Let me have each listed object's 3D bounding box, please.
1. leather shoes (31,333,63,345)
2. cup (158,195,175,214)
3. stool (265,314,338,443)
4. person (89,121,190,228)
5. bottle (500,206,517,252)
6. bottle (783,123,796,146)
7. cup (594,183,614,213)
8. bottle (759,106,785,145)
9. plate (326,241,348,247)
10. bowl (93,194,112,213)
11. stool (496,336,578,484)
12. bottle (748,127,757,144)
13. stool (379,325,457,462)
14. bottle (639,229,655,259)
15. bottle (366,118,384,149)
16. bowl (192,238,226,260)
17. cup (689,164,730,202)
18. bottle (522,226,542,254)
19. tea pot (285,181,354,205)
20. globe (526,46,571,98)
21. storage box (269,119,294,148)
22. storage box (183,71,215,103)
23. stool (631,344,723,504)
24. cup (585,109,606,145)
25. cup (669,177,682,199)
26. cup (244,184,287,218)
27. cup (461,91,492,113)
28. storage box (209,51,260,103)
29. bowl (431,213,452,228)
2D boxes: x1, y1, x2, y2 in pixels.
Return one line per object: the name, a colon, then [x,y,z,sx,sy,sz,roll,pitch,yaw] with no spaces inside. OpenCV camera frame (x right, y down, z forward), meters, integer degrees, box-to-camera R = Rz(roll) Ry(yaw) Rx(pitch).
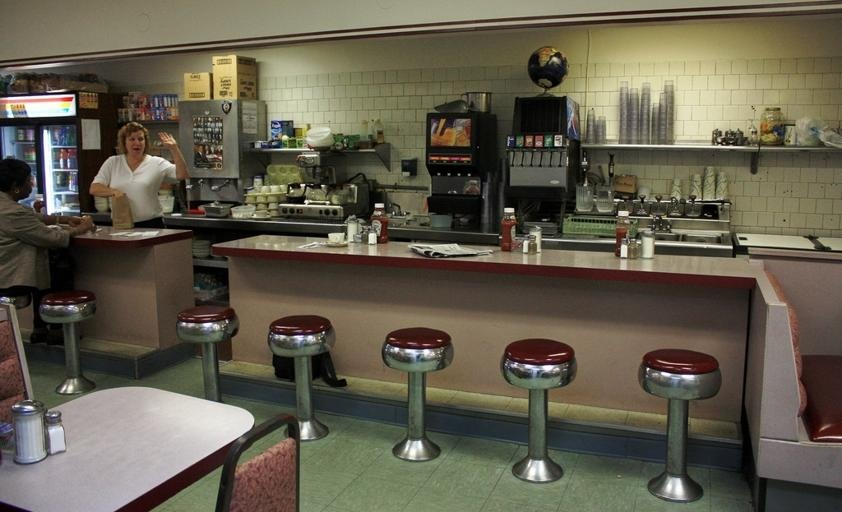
leather shoes: [-4.232,0.932,6.899,0.225,0.079,0.212,0,0,-27]
cup: [-3.768,-0.754,8.975,0.316,0.241,0.333,0,7,0]
stool: [-1.007,1.075,5.364,0.491,1.085,0.413,2,12,15]
person: [-3.513,-0.975,7.591,1.102,1.305,0.530,-7,13,-26]
bottle: [0.814,-0.246,5.685,0.122,0.395,0.202,0,12,6]
bottle: [4.324,-1.416,7.140,0.107,0.234,0.156,1,12,10]
cup: [2.273,-0.674,7.546,0.287,0.378,0.328,1,4,16]
bottle: [4.169,-1.537,7.221,0.281,0.414,0.266,-6,16,2]
plate: [-0.815,-0.117,5.886,0.207,0.040,0.247,-2,12,-7]
bowl: [-4.884,-0.811,9.365,0.336,0.236,0.316,0,7,0]
stool: [0.907,1.243,4.821,0.499,1.114,0.399,-7,13,-27]
bottle: [3.972,-1.427,7.270,0.125,0.207,0.248,5,13,26]
stool: [-0.057,1.160,5.120,0.517,1.095,0.491,-6,13,-24]
bottle: [1.986,-0.091,5.347,0.122,0.223,0.091,3,13,17]
bottle: [-0.626,-1.704,8.469,0.243,0.387,0.371,-2,12,-4]
bowl: [-2.976,-0.088,8.387,0.330,0.256,0.532,-5,13,-21]
cup: [3.531,-0.875,7.440,0.431,0.404,0.286,4,13,23]
bottle: [1.040,-0.137,5.648,0.168,0.191,0.289,3,13,18]
tea pot: [-1.400,-0.850,8.359,1.028,0.260,0.326,5,13,25]
globe: [1.514,-2.229,7.309,0.442,0.502,0.246,1,12,8]
storage box: [-2.033,-1.774,8.851,0.362,0.370,0.352,-2,12,-5]
storage box: [-3.283,-2.449,8.903,0.480,0.436,0.363,3,7,24]
stool: [1.950,1.298,4.682,0.573,1.131,0.325,1,12,8]
cup: [2.187,-1.613,7.627,0.245,0.441,0.377,2,12,12]
cup: [3.161,-0.826,7.538,0.135,0.234,0.196,3,13,19]
cup: [-2.188,-0.772,8.639,0.515,0.487,0.222,-4,-6,12]
cup: [0.706,-1.965,7.778,0.386,0.233,0.292,1,7,10]
storage box: [-2.780,-2.602,9.008,0.482,0.548,0.593,5,15,12]
bowl: [0.246,-0.430,7.600,0.261,0.168,0.146,0,12,3]
